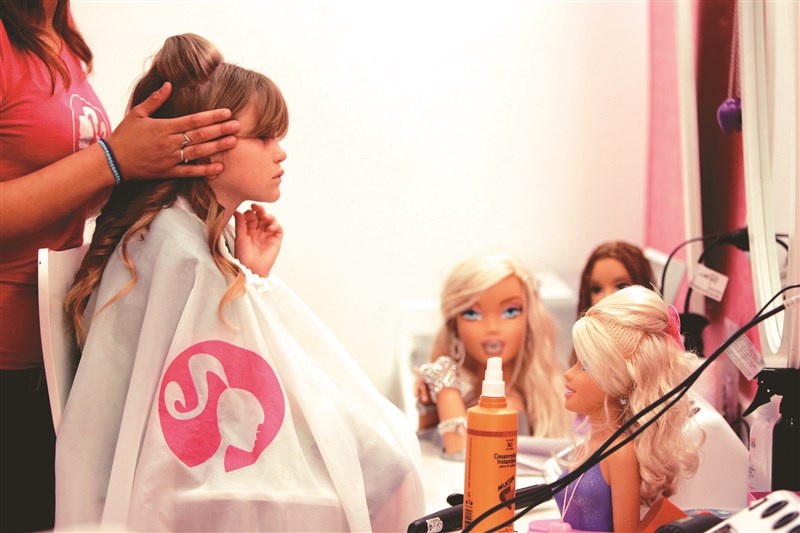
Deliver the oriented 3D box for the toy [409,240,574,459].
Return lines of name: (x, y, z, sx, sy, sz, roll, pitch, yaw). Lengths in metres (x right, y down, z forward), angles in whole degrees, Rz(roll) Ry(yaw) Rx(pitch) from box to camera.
toy: (0.259, 0.209, 2.119, 0.532, 0.873, 0.471, 0, -1, 3)

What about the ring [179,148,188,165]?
ring: (-0.458, -0.232, 1.524, 0.007, 0.024, 0.018, -9, 18, -4)

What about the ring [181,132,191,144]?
ring: (-0.448, -0.266, 1.516, 0.014, 0.022, 0.011, -1, -10, -19)

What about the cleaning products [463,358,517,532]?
cleaning products: (0.153, 0.308, 1.290, 0.105, 0.285, 0.056, -4, -8, 3)

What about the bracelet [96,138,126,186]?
bracelet: (-0.612, -0.217, 1.557, 0.046, 0.092, 0.104, -3, -10, -6)
